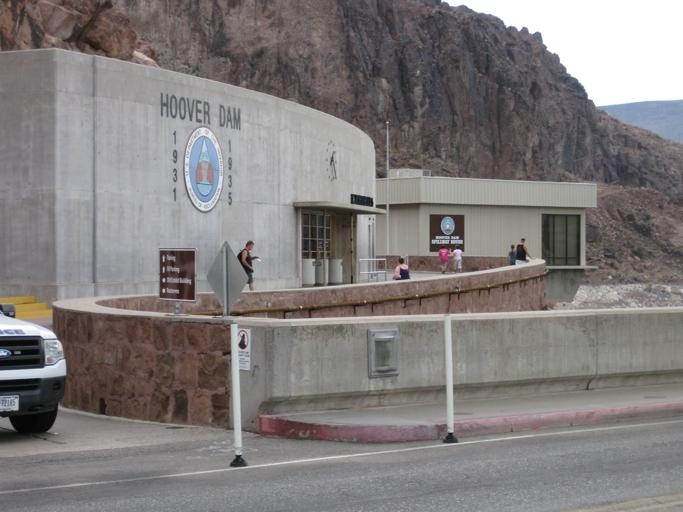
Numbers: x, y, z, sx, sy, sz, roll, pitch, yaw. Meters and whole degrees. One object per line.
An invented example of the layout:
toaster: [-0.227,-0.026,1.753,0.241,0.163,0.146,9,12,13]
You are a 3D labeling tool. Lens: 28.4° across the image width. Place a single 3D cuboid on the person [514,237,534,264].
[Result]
person: [9.346,-0.290,69.402,1.065,1.346,0.864,9,14,40]
